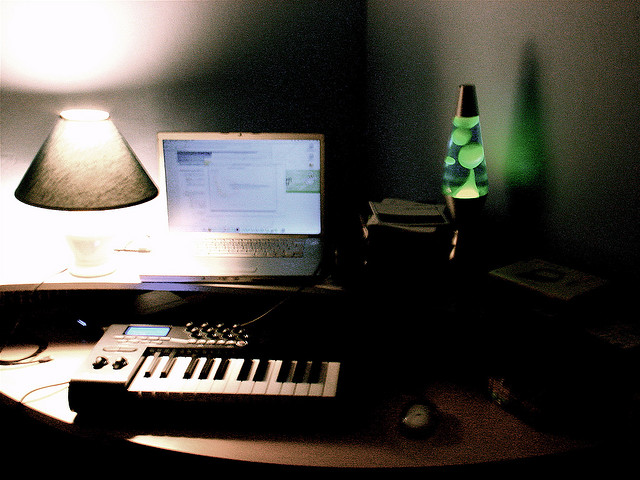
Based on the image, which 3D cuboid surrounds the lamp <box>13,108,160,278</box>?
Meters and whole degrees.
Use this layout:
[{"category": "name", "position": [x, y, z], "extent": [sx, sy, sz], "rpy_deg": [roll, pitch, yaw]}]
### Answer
[{"category": "lamp", "position": [-0.778, -0.136, 1.877], "extent": [0.455, 0.476, 0.417], "rpy_deg": [6, 14, 13]}]

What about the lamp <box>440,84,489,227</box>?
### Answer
[{"category": "lamp", "position": [0.458, -0.270, 1.783], "extent": [0.128, 0.432, 0.114], "rpy_deg": [-6, 20, -2]}]

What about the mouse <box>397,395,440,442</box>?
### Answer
[{"category": "mouse", "position": [0.259, 0.485, 1.505], "extent": [0.112, 0.062, 0.105], "rpy_deg": [-4, 17, -1]}]

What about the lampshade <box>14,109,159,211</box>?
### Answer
[{"category": "lampshade", "position": [-0.709, -0.241, 1.789], "extent": [0.400, 0.193, 0.357], "rpy_deg": [-4, 20, -18]}]

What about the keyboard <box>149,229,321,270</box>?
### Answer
[{"category": "keyboard", "position": [-0.287, 0.036, 1.921], "extent": [0.571, 0.078, 0.275], "rpy_deg": [-3, 17, 0]}]

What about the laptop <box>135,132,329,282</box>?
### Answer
[{"category": "laptop", "position": [-0.293, -0.106, 1.869], "extent": [0.644, 0.349, 0.386], "rpy_deg": [1, 27, 2]}]

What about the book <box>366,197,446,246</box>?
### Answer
[{"category": "book", "position": [0.245, -0.043, 1.689], "extent": [0.205, 0.042, 0.179], "rpy_deg": [5, 36, 10]}]
